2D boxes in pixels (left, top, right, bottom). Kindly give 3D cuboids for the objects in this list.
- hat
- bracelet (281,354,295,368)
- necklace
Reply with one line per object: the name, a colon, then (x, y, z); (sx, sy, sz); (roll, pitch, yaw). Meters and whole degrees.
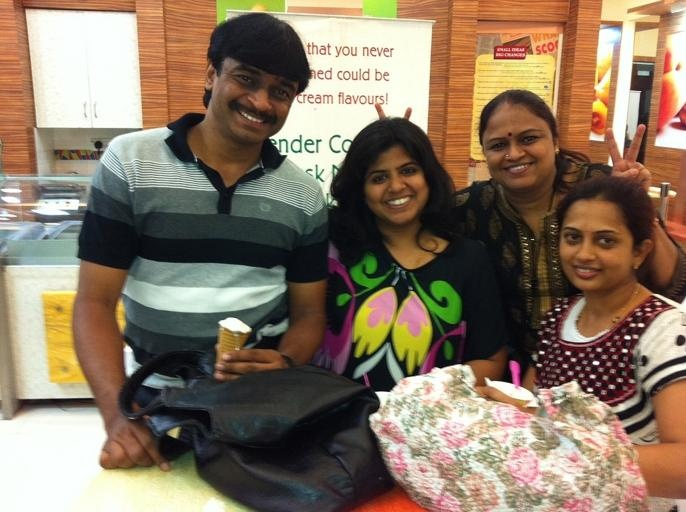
hat: (-0.311, -0.727, 1.934); (0.269, 0.216, 0.310); (7, 19, -31)
bracelet: (-0.175, 0.326, 1.653); (0.016, 0.040, 0.031); (-42, 9, 1)
necklace: (0.868, 0.192, 1.767); (0.182, 0.192, 0.080); (23, -5, 22)
